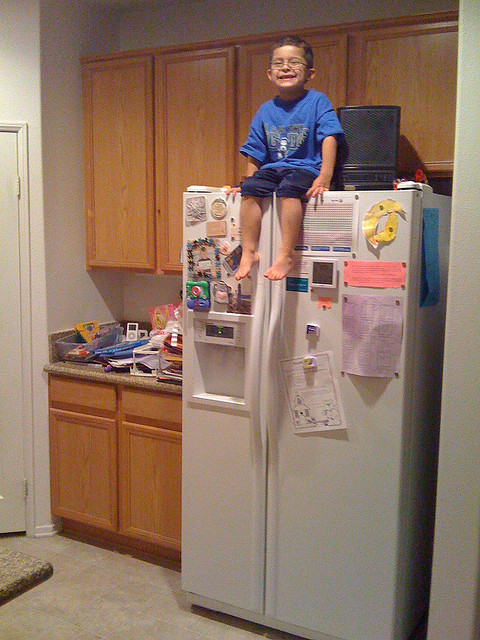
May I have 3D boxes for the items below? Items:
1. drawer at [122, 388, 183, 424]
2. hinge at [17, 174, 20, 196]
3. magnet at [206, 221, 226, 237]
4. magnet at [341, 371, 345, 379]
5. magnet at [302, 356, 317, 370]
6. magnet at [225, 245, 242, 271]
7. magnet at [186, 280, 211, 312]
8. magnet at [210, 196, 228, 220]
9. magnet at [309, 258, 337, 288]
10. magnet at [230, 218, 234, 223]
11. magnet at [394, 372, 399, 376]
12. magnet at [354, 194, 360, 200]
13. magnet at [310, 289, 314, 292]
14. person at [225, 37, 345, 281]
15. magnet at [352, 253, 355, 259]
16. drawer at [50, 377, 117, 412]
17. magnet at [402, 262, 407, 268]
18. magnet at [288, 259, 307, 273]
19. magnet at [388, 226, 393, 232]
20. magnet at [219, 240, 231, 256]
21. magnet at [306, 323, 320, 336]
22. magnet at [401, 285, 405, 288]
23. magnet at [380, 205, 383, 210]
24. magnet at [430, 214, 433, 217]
[{"bbox_3d":[-0.394,0.376,2.451,0.208,0.105,0.152,6,2,28],"label":"drawer"},{"bbox_3d":[-1.020,-0.627,2.558,0.011,0.088,0.006,1,3,1],"label":"hinge"},{"bbox_3d":[-0.085,-0.317,1.906,0.064,0.048,0.013,1,7,28],"label":"magnet"},{"bbox_3d":[0.324,0.172,1.747,0.009,0.017,0.016,4,9,12],"label":"magnet"},{"bbox_3d":[0.226,0.137,1.789,0.059,0.062,0.033,-1,-3,40],"label":"magnet"},{"bbox_3d":[-0.016,-0.213,1.885,0.016,0.072,0.050,5,37,-47],"label":"magnet"},{"bbox_3d":[-0.143,-0.087,1.956,0.098,0.119,0.056,2,5,38],"label":"magnet"},{"bbox_3d":[-0.073,-0.384,1.890,0.064,0.072,0.018,8,13,42],"label":"magnet"},{"bbox_3d":[0.264,-0.149,1.731,0.077,0.084,0.043,5,10,34],"label":"magnet"},{"bbox_3d":[-0.027,-0.341,1.872,0.008,0.017,0.009,1,5,16],"label":"magnet"},{"bbox_3d":[0.469,0.162,1.666,0.013,0.015,0.007,5,13,29],"label":"magnet"},{"bbox_3d":[0.351,-0.372,1.664,0.015,0.017,0.005,1,3,20],"label":"magnet"},{"bbox_3d":[0.229,-0.094,1.767,0.012,0.008,0.004,2,4,9],"label":"magnet"},{"bbox_3d":[0.131,-0.522,1.822,0.261,0.775,0.370,-1,4,-35],"label":"person"},{"bbox_3d":[0.346,-0.199,1.688,0.010,0.016,0.008,5,10,42],"label":"magnet"},{"bbox_3d":[-0.746,0.353,2.635,0.397,0.131,0.029,4,4,26],"label":"drawer"},{"bbox_3d":[0.479,-0.161,1.620,0.009,0.019,0.010,0,4,1],"label":"magnet"},{"bbox_3d":[0.199,-0.175,1.798,0.040,0.041,0.010,8,3,29],"label":"magnet"},{"bbox_3d":[0.441,-0.268,1.622,0.004,0.013,0.013,-5,23,-21],"label":"magnet"},{"bbox_3d":[-0.051,-0.245,1.880,0.031,0.045,0.013,31,28,22],"label":"magnet"},{"bbox_3d":[0.234,0.030,1.772,0.035,0.034,0.015,2,1,37],"label":"magnet"},{"bbox_3d":[0.478,-0.101,1.629,0.007,0.014,0.007,1,2,24],"label":"magnet"},{"bbox_3d":[0.415,-0.332,1.630,0.004,0.010,0.007,-11,15,-37],"label":"magnet"},{"bbox_3d":[0.600,-0.328,1.734,0.003,0.006,0.005,9,16,44],"label":"magnet"}]
